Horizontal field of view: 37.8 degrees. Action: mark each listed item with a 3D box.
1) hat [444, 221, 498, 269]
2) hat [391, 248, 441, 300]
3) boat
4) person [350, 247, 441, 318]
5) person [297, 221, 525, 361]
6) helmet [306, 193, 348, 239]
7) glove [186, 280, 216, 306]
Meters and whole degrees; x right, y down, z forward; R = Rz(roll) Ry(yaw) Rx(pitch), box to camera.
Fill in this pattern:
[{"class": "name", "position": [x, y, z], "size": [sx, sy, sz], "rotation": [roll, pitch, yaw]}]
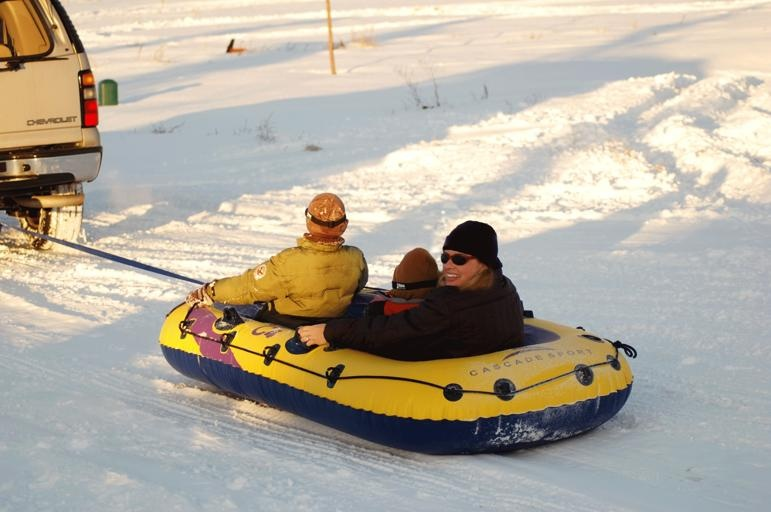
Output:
[{"class": "hat", "position": [0.911, -0.141, 11.827], "size": [0.610, 0.310, 0.511], "rotation": [13, 3, -27]}, {"class": "hat", "position": [0.241, 0.168, 12.633], "size": [0.649, 0.595, 0.783], "rotation": [5, 11, 10]}, {"class": "boat", "position": [-0.121, 1.053, 12.124], "size": [3.529, 0.587, 2.202], "rotation": [6, 6, 34]}, {"class": "person", "position": [0.126, 0.283, 12.364], "size": [1.031, 0.468, 0.694], "rotation": [-3, 9, 43]}, {"class": "person", "position": [0.334, 0.468, 12.177], "size": [2.202, 0.985, 1.402], "rotation": [-2, 1, 28]}, {"class": "helmet", "position": [-0.620, -0.443, 12.323], "size": [0.488, 0.433, 0.544], "rotation": [2, 18, -1]}, {"class": "glove", "position": [-2.068, 0.442, 12.610], "size": [0.334, 0.126, 0.232], "rotation": [-1, 29, 39]}]
